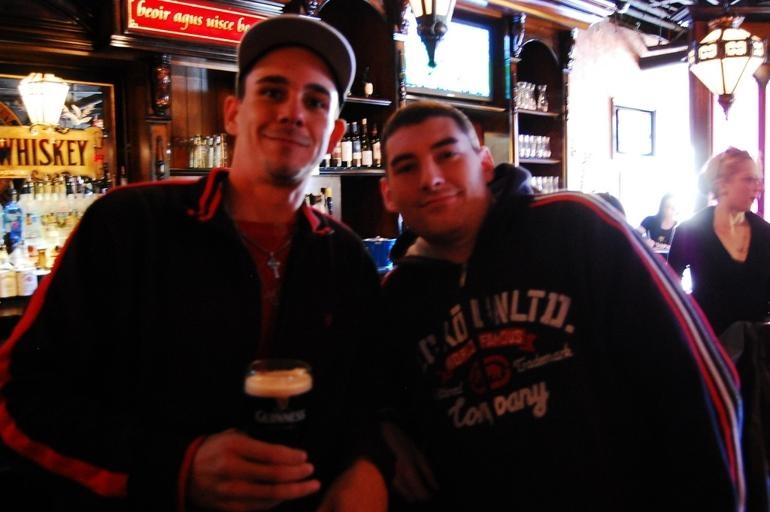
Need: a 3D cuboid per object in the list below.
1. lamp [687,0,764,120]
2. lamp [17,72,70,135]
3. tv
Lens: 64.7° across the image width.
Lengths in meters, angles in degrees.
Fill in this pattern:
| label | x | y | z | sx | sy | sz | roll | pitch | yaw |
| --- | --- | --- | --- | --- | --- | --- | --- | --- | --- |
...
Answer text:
| label | x | y | z | sx | sy | sz | roll | pitch | yaw |
| --- | --- | --- | --- | --- | --- | --- | --- | --- | --- |
| lamp | 3.282 | -1.910 | 5.854 | 0.620 | 1.068 | 0.447 | 4 | 6 | 25 |
| lamp | -2.483 | -1.138 | 4.592 | 0.416 | 0.405 | 0.392 | 4 | 6 | 28 |
| tv | 0.616 | -1.914 | 6.008 | 1.367 | 0.802 | 0.043 | -13 | 17 | -42 |
